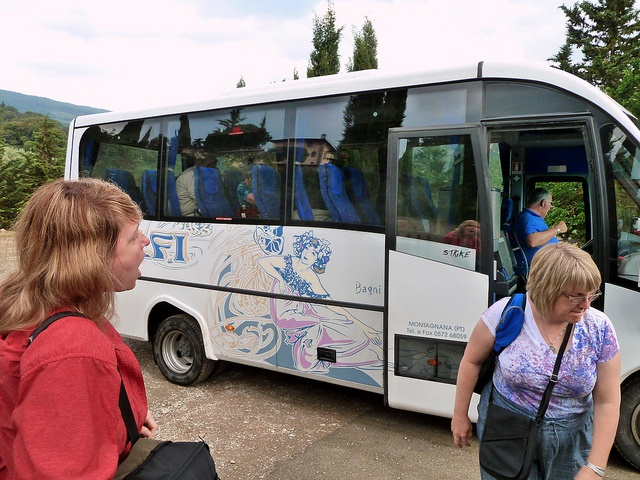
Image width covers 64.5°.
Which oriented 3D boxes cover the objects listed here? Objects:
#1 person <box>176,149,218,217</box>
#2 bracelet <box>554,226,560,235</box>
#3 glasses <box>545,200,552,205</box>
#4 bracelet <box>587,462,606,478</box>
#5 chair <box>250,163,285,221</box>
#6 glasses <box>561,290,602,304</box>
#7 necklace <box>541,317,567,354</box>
[{"bbox_3d":[-1.467,-0.671,6.157,0.462,0.885,0.767,-3,3,-29],"label":"person"},{"bbox_3d":[2.987,-0.131,6.377,0.029,0.111,0.106,-20,36,15],"label":"bracelet"},{"bbox_3d":[2.899,-0.480,6.425,0.075,0.077,0.077,2,-3,-4],"label":"glasses"},{"bbox_3d":[1.460,1.198,2.674,0.080,0.064,0.042,43,-9,13],"label":"bracelet"},{"bbox_3d":[-0.583,-0.554,5.667,0.408,0.710,0.524,-2,0,-34],"label":"chair"},{"bbox_3d":[1.443,0.296,2.728,0.320,0.056,0.096,-4,8,-35],"label":"glasses"},{"bbox_3d":[1.268,0.515,2.757,0.108,0.187,0.044,-1,0,17],"label":"necklace"}]
